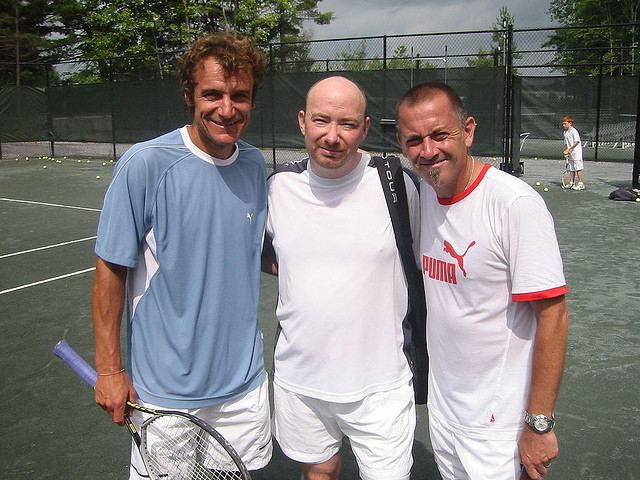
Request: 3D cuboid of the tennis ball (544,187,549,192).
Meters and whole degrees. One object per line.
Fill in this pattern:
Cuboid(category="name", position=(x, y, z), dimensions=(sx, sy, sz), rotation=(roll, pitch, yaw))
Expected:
Cuboid(category="tennis ball", position=(4.964, -1.116, 12.911), dimensions=(0.100, 0.066, 0.104), rotation=(-2, 5, 0))

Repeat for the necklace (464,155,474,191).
Cuboid(category="necklace", position=(0.747, -0.334, 2.876), dimensions=(0.007, 0.143, 0.095), rotation=(6, -2, -25))

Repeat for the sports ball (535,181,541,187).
Cuboid(category="sports ball", position=(5.111, -1.325, 13.767), dimensions=(0.160, 0.134, 0.314), rotation=(2, 5, 12))

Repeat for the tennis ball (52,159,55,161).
Cuboid(category="tennis ball", position=(-9.573, -2.879, 21.047), dimensions=(0.075, 0.059, 0.078), rotation=(3, 11, -1))

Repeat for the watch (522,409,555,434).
Cuboid(category="watch", position=(1.013, 0.834, 2.743), dimensions=(0.091, 0.072, 0.103), rotation=(5, -1, 6))

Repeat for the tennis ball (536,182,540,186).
Cuboid(category="tennis ball", position=(5.102, -1.334, 13.767), dimensions=(0.095, 0.062, 0.099), rotation=(-1, 11, 0))

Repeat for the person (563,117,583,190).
Cuboid(category="person", position=(5.598, -1.925, 12.974), dimensions=(0.418, 1.562, 1.346), rotation=(2, 10, 23))

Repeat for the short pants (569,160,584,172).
Cuboid(category="short pants", position=(5.443, -1.599, 12.568), dimensions=(0.186, 0.333, 0.320), rotation=(-1, -1, -33))
